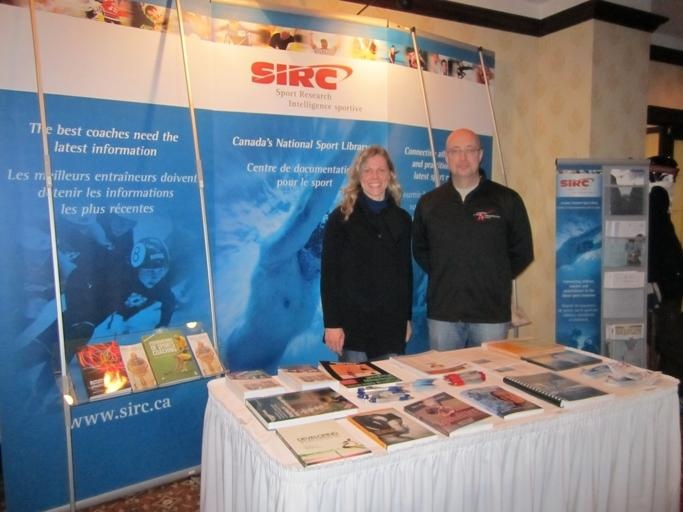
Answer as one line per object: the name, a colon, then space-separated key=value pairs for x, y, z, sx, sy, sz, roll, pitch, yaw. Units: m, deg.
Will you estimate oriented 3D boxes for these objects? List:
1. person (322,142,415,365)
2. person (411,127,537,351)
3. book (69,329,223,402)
person: x=0.151 y=-0.021 z=3.241 sx=0.538 sy=1.208 sz=0.303 roll=-2 pitch=7 yaw=0
person: x=0.808 y=0.009 z=3.447 sx=0.720 sy=1.082 sz=0.285 roll=-2 pitch=7 yaw=7
book: x=-1.014 y=0.542 z=2.895 sx=0.758 sy=0.234 sz=0.245 roll=-6 pitch=7 yaw=-27
